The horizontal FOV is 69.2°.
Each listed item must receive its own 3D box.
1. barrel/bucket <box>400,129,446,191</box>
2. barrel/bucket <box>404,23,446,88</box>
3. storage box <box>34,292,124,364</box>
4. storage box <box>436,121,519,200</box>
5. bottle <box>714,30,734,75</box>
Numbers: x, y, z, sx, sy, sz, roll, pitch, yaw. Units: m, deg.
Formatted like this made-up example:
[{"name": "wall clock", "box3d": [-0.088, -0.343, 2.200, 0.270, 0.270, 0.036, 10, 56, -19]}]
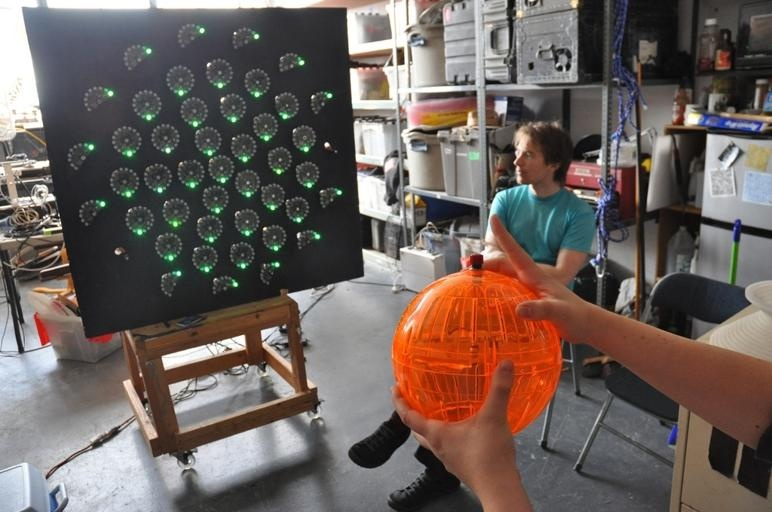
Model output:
[{"name": "barrel/bucket", "box3d": [0.386, -0.971, 5.507, 0.526, 0.453, 0.517, -1, 16, 0]}, {"name": "barrel/bucket", "box3d": [0.490, -1.917, 5.297, 0.471, 0.414, 0.483, -3, 21, 1]}, {"name": "storage box", "box3d": [-2.633, 0.580, 4.720, 0.679, 0.599, 0.281, -3, 18, 9]}, {"name": "storage box", "box3d": [0.924, -0.908, 5.132, 0.761, 0.668, 0.629, 18, 30, 41]}, {"name": "bottle", "box3d": [2.276, -1.401, 3.780, 0.109, 0.268, 0.174, 4, 20, 30]}]
